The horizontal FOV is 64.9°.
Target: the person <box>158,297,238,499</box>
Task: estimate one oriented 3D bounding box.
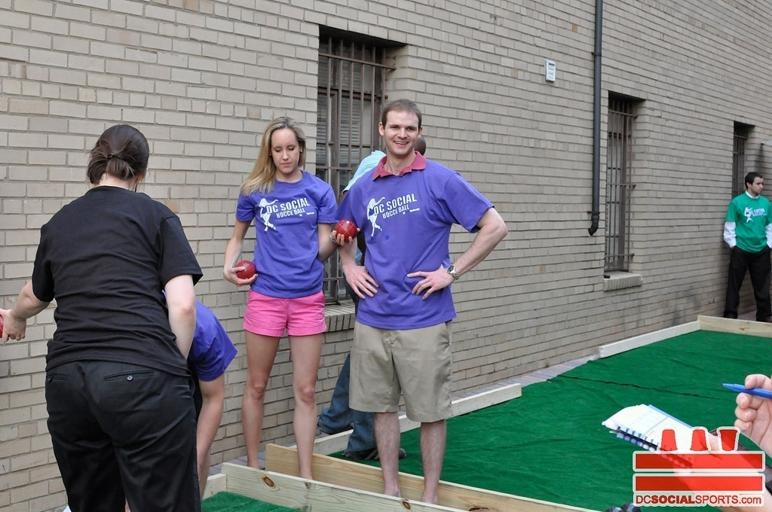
[{"bbox_3d":[-1.228,0.932,3.902,0.435,1.124,0.415,1,5,-19],"label":"person"}]

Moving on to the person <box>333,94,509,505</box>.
[{"bbox_3d":[0.194,0.322,4.555,1.140,2.946,0.609,3,8,9],"label":"person"}]
